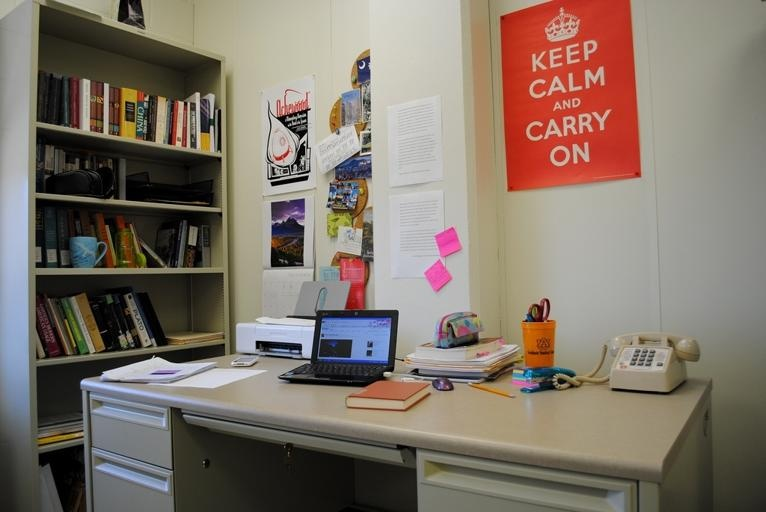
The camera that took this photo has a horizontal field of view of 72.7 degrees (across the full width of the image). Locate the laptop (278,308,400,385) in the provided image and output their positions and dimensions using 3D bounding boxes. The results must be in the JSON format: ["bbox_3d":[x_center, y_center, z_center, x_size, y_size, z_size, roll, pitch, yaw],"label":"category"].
[{"bbox_3d":[-0.186,0.390,2.263,0.438,0.261,0.376,-3,0,21],"label":"laptop"}]

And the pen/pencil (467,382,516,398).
[{"bbox_3d":[0.429,0.537,2.084,0.025,0.024,0.238,-3,2,-21],"label":"pen/pencil"}]

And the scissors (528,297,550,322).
[{"bbox_3d":[0.669,0.231,2.233,0.019,0.100,0.141,3,-2,31],"label":"scissors"}]

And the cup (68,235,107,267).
[{"bbox_3d":[-1.703,-0.028,3.028,0.105,0.146,0.207,-2,4,21],"label":"cup"}]

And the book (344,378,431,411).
[{"bbox_3d":[0.023,0.537,2.047,0.315,0.055,0.241,-2,5,10],"label":"book"}]

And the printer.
[{"bbox_3d":[-0.462,0.341,2.830,0.521,0.362,0.465,-1,-1,36],"label":"printer"}]

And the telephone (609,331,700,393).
[{"bbox_3d":[1.057,0.422,2.117,0.303,0.201,0.330,-2,-3,-31],"label":"telephone"}]

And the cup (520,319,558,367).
[{"bbox_3d":[0.623,0.352,2.105,0.164,0.191,0.168,-1,-9,0],"label":"cup"}]
